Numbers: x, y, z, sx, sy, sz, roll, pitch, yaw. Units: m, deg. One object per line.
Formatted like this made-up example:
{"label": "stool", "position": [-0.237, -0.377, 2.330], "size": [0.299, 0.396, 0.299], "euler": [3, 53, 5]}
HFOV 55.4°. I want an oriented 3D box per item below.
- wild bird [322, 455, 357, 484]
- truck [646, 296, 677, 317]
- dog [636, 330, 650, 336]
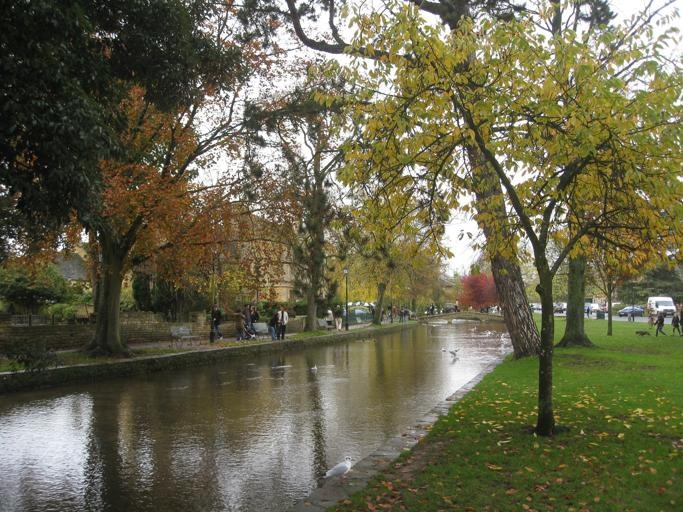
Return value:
{"label": "wild bird", "position": [0.025, 3.616, 11.238], "size": [0.611, 0.450, 0.310], "euler": [-6, 4, -17]}
{"label": "truck", "position": [28.132, 4.393, 57.315], "size": [1.432, 1.636, 2.992], "euler": [-3, -13, 18]}
{"label": "dog", "position": [15.963, 4.077, 34.581], "size": [0.616, 0.304, 0.181], "euler": [-2, -8, 14]}
